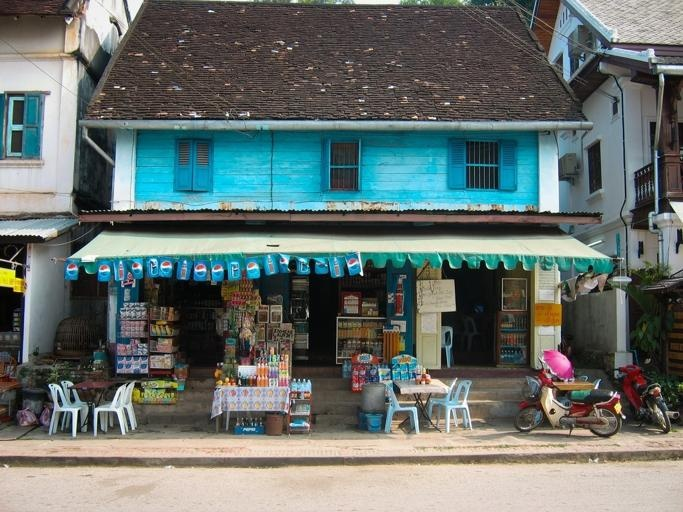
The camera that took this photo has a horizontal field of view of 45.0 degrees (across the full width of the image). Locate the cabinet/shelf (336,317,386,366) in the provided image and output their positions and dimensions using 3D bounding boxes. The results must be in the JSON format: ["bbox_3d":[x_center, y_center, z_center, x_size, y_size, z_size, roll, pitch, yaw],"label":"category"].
[{"bbox_3d":[0.522,2.447,23.111,1.362,1.216,0.473,1,-5,-4],"label":"cabinet/shelf"}]

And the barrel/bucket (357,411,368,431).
[{"bbox_3d":[0.538,4.217,20.914,0.445,0.524,0.340,0,-11,-1],"label":"barrel/bucket"}]

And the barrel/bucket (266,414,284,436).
[{"bbox_3d":[-1.639,4.150,20.217,0.500,0.468,0.474,0,-7,0],"label":"barrel/bucket"}]

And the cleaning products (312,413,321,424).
[{"bbox_3d":[-0.674,4.257,21.496,0.180,0.319,0.182,2,-13,-8],"label":"cleaning products"}]

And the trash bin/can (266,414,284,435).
[{"bbox_3d":[-1.636,4.138,20.237,0.498,0.461,0.469,3,-7,-27],"label":"trash bin/can"}]

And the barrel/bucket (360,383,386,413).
[{"bbox_3d":[0.816,3.634,20.950,0.682,0.718,0.672,1,-7,0],"label":"barrel/bucket"}]

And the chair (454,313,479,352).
[{"bbox_3d":[3.950,2.404,25.951,0.760,1.214,0.537,-3,-6,16],"label":"chair"}]

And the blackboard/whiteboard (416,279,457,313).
[{"bbox_3d":[2.708,1.152,23.620,1.096,0.867,0.995,-1,2,-17],"label":"blackboard/whiteboard"}]

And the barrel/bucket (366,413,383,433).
[{"bbox_3d":[0.841,4.204,20.841,0.432,0.450,0.583,-1,-6,0],"label":"barrel/bucket"}]

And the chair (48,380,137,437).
[{"bbox_3d":[-6.200,3.804,20.657,2.140,1.309,1.534,0,-6,-14],"label":"chair"}]

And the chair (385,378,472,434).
[{"bbox_3d":[2.167,3.823,20.906,1.747,0.888,1.402,0,-5,1],"label":"chair"}]

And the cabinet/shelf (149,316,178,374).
[{"bbox_3d":[-5.017,2.472,22.902,0.588,1.582,1.602,9,-11,-16],"label":"cabinet/shelf"}]
